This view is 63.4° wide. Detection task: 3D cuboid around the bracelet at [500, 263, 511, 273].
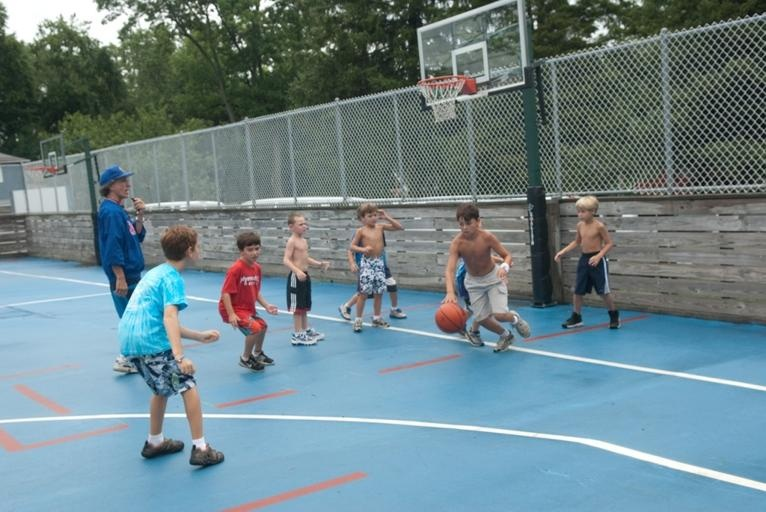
[{"bbox_3d":[1.647,0.143,8.344,0.108,0.099,0.106,-21,14,-19],"label":"bracelet"}]
